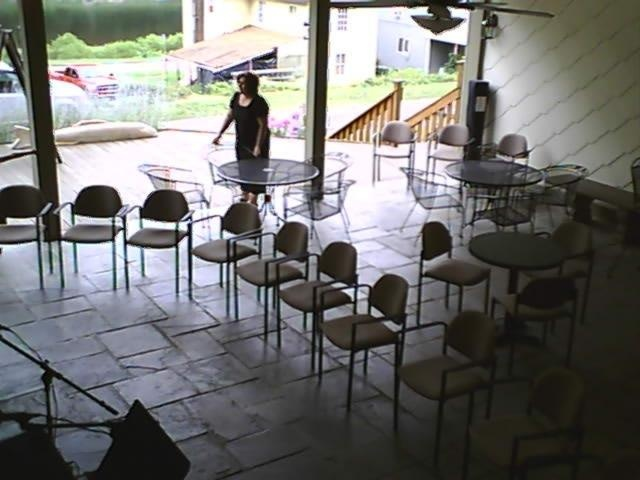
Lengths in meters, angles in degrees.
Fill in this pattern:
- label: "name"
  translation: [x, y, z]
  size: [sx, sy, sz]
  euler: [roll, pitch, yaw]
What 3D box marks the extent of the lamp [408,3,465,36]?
- label: "lamp"
  translation: [0.924, -1.738, 4.337]
  size: [0.417, 0.210, 0.481]
  euler: [5, 20, 11]
